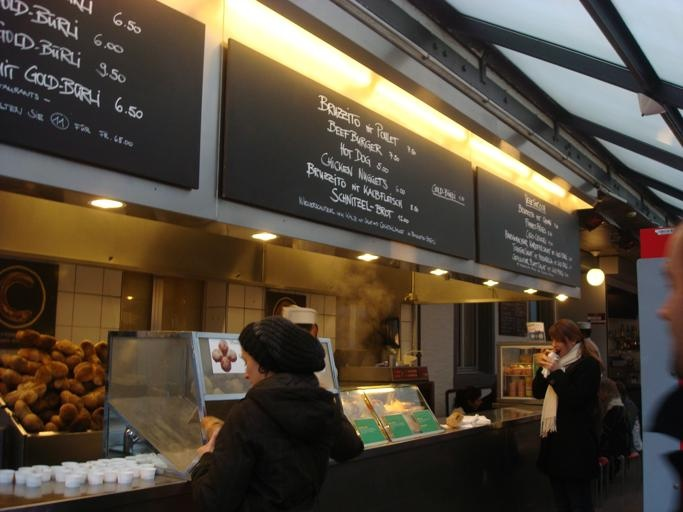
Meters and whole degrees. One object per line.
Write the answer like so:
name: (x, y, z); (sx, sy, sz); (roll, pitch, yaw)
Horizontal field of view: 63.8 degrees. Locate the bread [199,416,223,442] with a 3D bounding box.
bread: (-0.551, 0.700, 2.230); (0.052, 0.095, 0.161); (-1, -2, -30)
